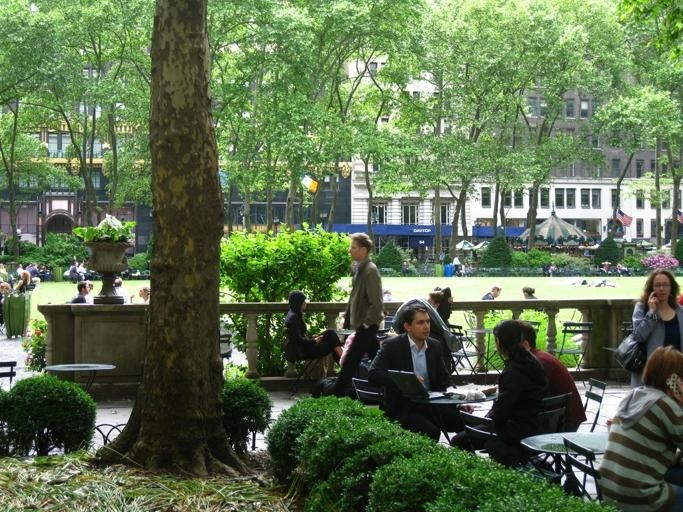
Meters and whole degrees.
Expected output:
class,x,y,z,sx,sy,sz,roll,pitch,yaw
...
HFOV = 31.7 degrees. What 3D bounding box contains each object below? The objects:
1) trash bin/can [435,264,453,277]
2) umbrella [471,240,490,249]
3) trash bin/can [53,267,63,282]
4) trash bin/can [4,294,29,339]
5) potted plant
class,x,y,z,sx,sy,sz,roll,pitch,yaw
trash bin/can,7.121,0.901,83.000,0.900,1.551,0.873,1,-3,-21
umbrella,10.644,-0.880,92.920,1.042,0.446,1.039,-4,-2,36
trash bin/can,-19.139,1.148,81.915,0.914,0.924,0.903,-4,-6,27
trash bin/can,-13.185,2.359,49.213,0.986,1.847,0.834,-1,1,-19
potted plant,-7.498,0.061,39.043,1.591,2.862,1.097,-1,1,-11
